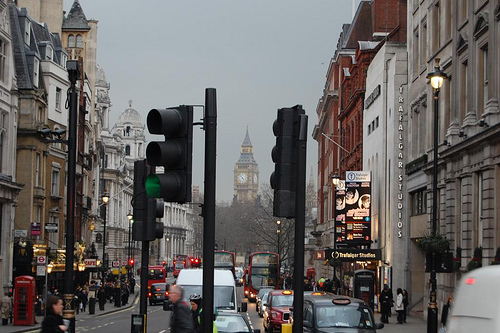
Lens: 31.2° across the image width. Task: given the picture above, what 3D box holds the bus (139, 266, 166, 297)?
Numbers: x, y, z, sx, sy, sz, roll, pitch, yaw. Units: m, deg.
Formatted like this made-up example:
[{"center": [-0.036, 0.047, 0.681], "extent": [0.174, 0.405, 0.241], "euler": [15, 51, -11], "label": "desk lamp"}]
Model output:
[{"center": [-11.516, 13.268, 109.377], "extent": [1.789, 2.570, 3.385], "euler": [1, -16, -7], "label": "bus"}]

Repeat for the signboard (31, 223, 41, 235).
[{"center": [-13.398, 3.848, 55.763], "extent": [0.490, 0.750, 0.617], "euler": [3, -15, -14], "label": "signboard"}]

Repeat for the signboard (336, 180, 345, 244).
[{"center": [7.085, 3.664, 69.887], "extent": [0.948, 5.169, 0.062], "euler": [0, -1, -26], "label": "signboard"}]

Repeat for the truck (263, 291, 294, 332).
[{"center": [1.537, 8.021, 50.061], "extent": [1.529, 2.447, 2.892], "euler": [-1, -15, 1], "label": "truck"}]

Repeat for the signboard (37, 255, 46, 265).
[{"center": [-12.368, 5.596, 53.015], "extent": [0.476, 0.627, 1.180], "euler": [3, -16, -13], "label": "signboard"}]

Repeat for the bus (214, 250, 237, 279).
[{"center": [-2.389, 8.746, 84.908], "extent": [2.084, 2.245, 3.475], "euler": [1, -10, -2], "label": "bus"}]

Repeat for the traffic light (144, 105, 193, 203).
[{"center": [-2.685, -0.506, 30.910], "extent": [1.267, 3.428, 1.363], "euler": [-2, 9, -16], "label": "traffic light"}]
